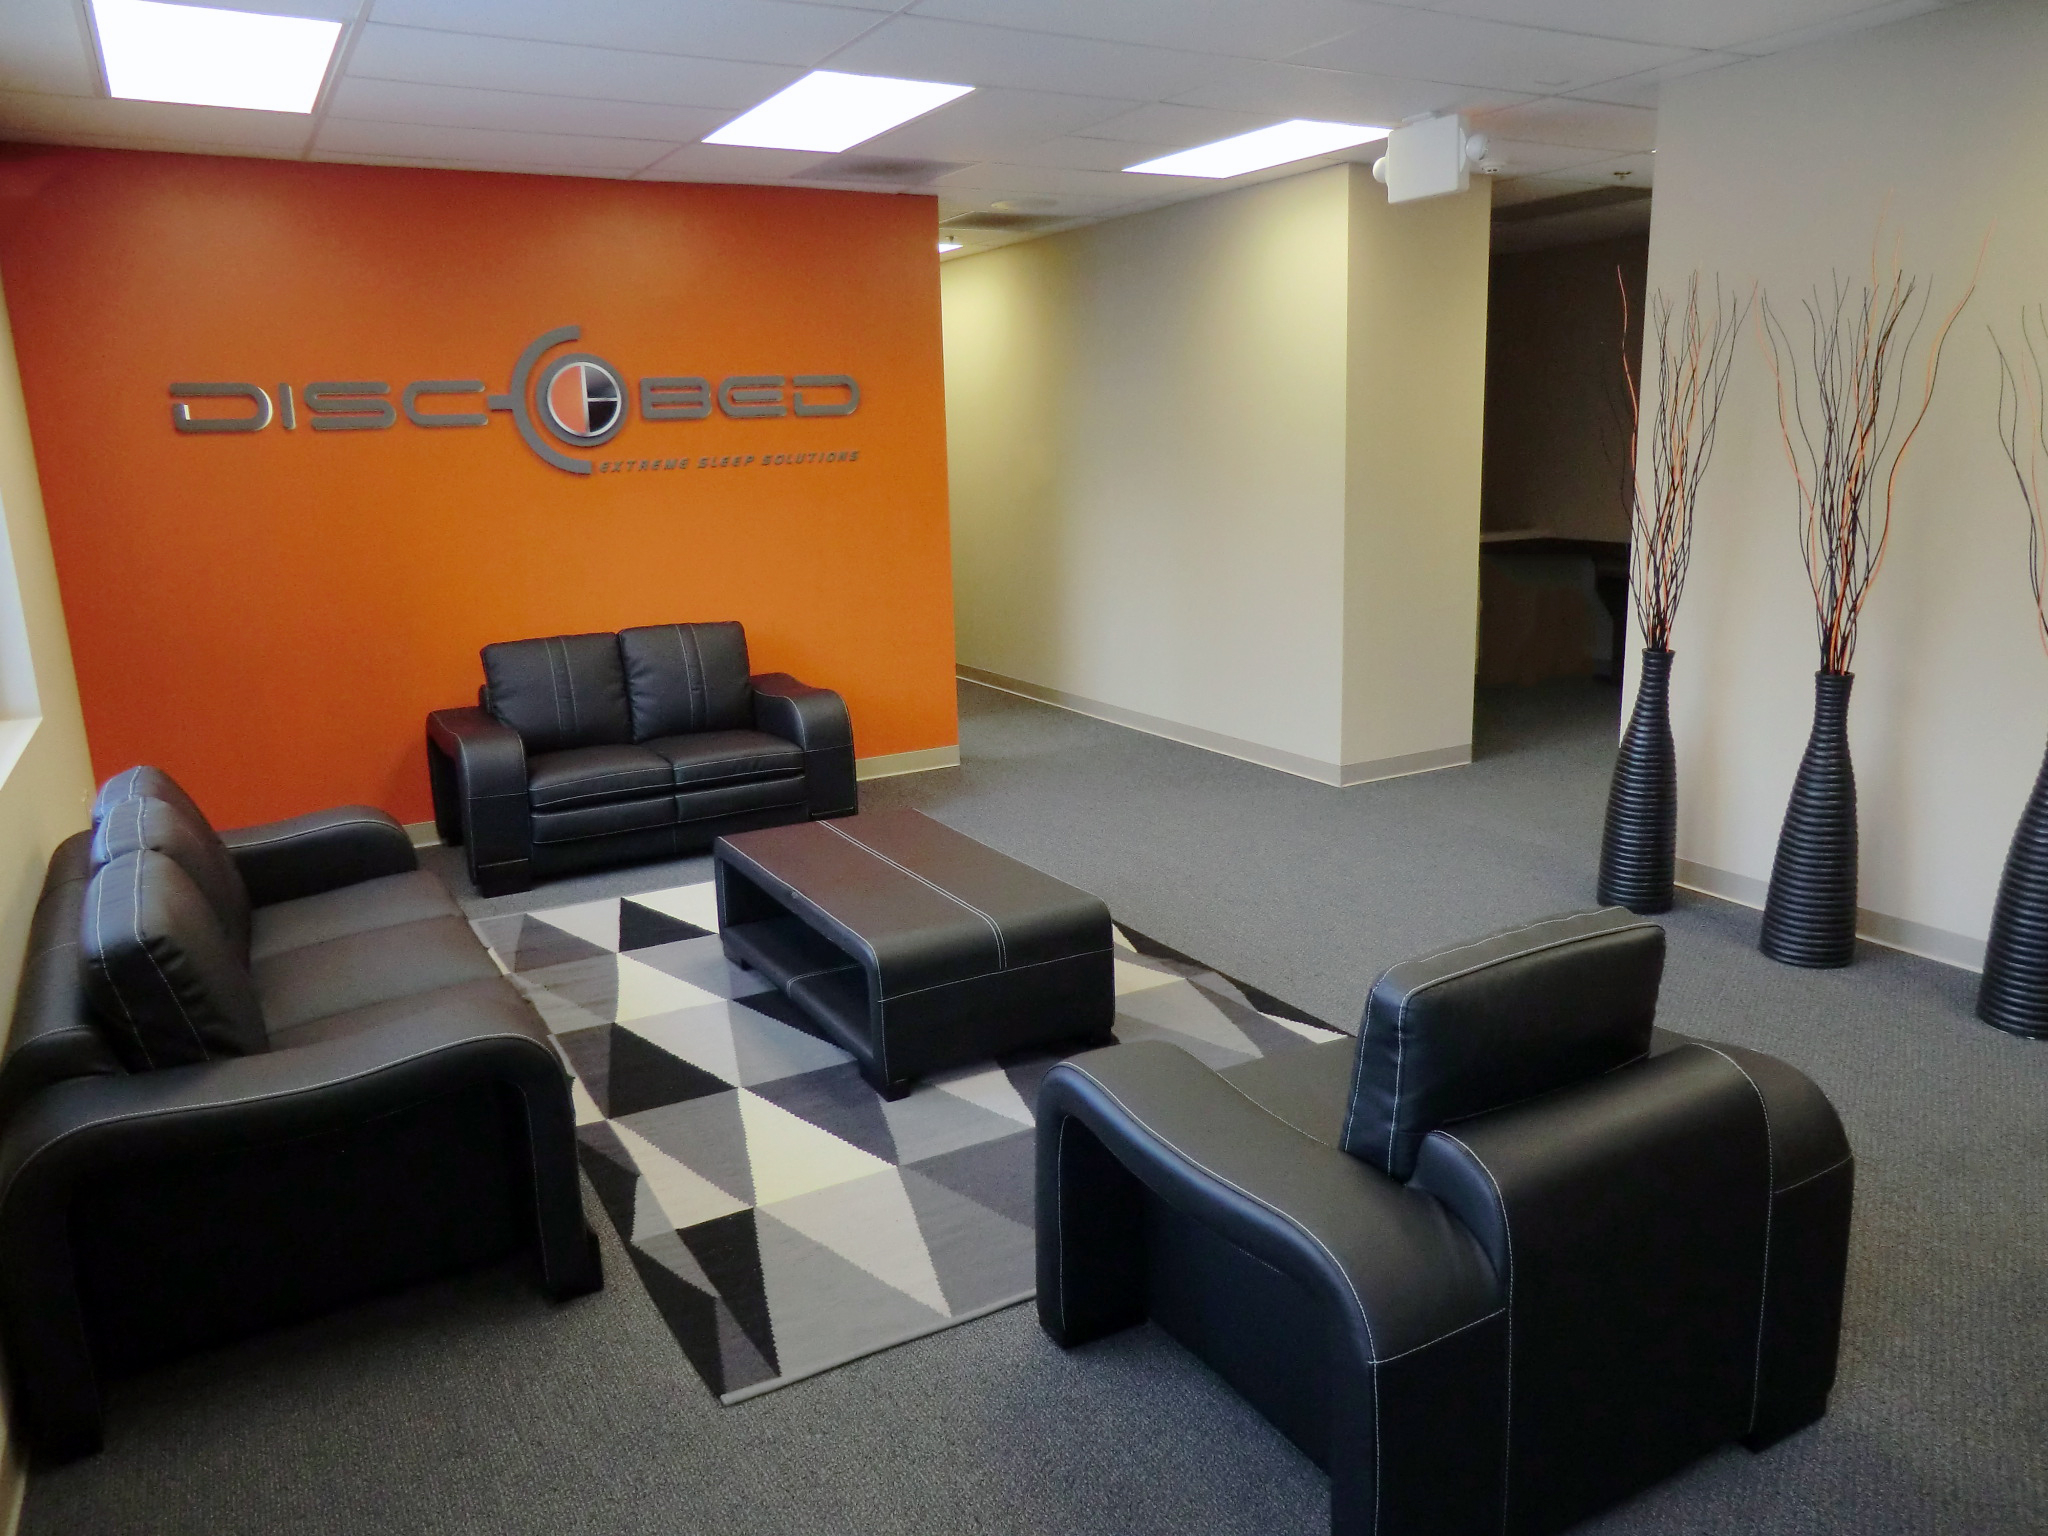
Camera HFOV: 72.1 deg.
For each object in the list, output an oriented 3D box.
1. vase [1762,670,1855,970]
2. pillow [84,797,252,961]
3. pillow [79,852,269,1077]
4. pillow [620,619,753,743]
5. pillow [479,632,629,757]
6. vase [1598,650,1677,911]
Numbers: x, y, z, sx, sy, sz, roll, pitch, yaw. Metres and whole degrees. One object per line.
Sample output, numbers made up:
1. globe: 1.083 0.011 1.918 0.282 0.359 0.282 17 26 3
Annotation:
1. vase: 2.987 0.189 5.245 0.320 1.101 0.207 2 16 14
2. pillow: -2.373 0.311 3.890 0.169 0.324 0.347 -19 34 -11
3. pillow: -2.164 0.506 3.553 0.352 0.441 0.455 -13 20 -35
4. pillow: -1.720 -0.425 7.114 0.482 0.440 0.237 -8 16 -25
5. pillow: -2.373 -0.360 7.078 0.809 0.766 0.490 -3 -1 -25
6. vase: 2.541 0.060 5.763 0.290 1.095 0.327 6 17 26
